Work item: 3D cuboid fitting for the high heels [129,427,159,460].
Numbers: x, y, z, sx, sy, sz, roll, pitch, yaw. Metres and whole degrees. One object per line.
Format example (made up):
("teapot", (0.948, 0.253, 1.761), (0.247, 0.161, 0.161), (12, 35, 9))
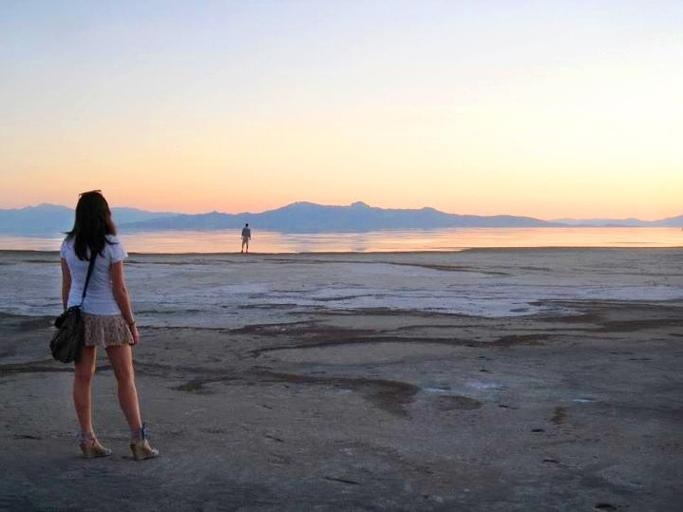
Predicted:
("high heels", (-1.775, 1.663, 5.257), (0.250, 0.268, 0.193), (-1, 4, -25))

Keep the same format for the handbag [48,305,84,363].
("handbag", (-2.453, 0.700, 5.167), (0.309, 0.518, 0.192), (3, 4, 37))

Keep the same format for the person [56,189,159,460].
("person", (-2.121, 0.602, 5.261), (0.862, 2.377, 0.438), (0, 4, -8))
